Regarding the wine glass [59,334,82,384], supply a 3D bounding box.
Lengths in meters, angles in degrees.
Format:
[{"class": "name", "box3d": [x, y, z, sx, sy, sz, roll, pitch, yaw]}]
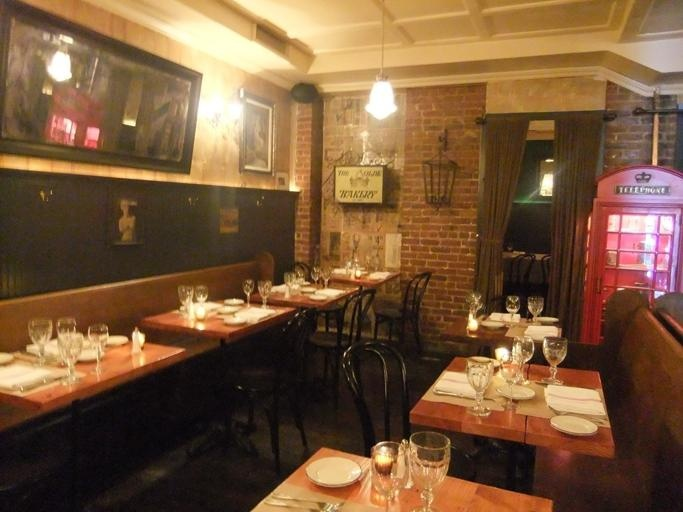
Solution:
[{"class": "wine glass", "box3d": [-1.776, 0.628, 3.433, 0.137, 0.304, 0.351, -4, 12, -27]}]

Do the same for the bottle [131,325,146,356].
[{"class": "bottle", "box3d": [-1.515, 0.608, 3.900, 0.092, 0.167, 0.221, -2, 11, -22]}]

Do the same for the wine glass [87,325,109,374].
[{"class": "wine glass", "box3d": [-1.671, 0.597, 3.601, 0.113, 0.300, 0.376, -3, 11, -26]}]

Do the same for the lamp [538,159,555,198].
[{"class": "lamp", "box3d": [3.734, -1.421, 9.532, 0.203, 0.709, 0.160, 2, 10, 2]}]

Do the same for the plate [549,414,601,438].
[{"class": "plate", "box3d": [1.304, 0.937, 2.907, 0.271, 0.044, 0.179, 0, 11, -11]}]

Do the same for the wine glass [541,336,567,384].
[{"class": "wine glass", "box3d": [1.406, 0.662, 3.454, 0.137, 0.298, 0.337, 6, 11, 22]}]
